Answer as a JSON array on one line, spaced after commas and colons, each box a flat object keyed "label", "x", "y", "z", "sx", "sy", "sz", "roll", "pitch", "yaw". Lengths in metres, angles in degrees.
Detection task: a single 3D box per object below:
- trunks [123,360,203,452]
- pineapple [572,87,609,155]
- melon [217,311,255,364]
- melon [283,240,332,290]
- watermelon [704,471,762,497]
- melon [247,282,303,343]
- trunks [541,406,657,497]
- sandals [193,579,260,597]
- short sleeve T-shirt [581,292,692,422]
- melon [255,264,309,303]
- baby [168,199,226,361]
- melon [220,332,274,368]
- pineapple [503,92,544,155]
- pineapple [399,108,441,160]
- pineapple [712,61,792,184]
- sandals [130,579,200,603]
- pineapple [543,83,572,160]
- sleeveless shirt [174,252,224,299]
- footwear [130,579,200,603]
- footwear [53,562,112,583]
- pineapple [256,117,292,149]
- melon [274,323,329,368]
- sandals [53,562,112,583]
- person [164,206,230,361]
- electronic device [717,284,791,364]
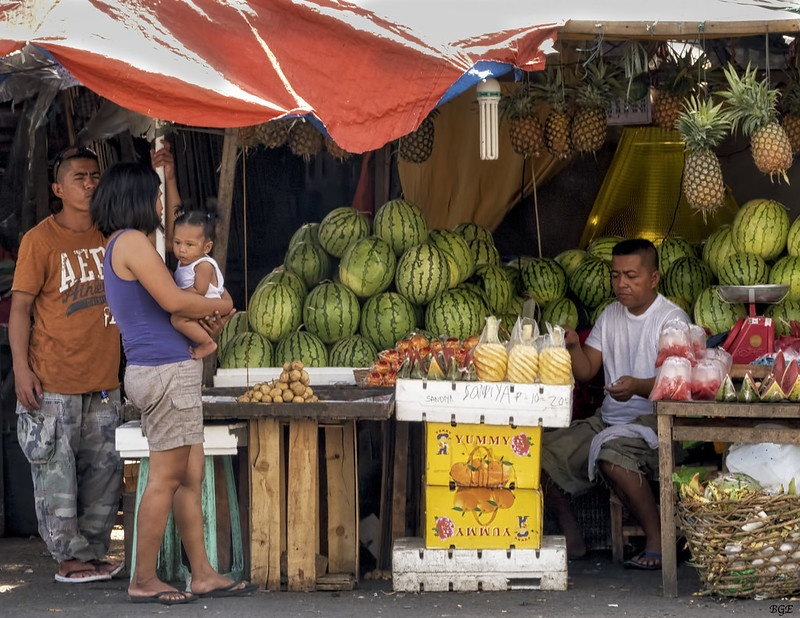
[{"label": "trunks", "x": -1.182, "y": 0.382, "z": 5.902, "sx": 0.338, "sy": 0.481, "sz": 0.490, "roll": -3, "pitch": 4, "yaw": -21}, {"label": "pineapple", "x": 1.212, "y": -1.225, "z": 7.545, "sx": 0.228, "sy": 0.340, "sz": 0.273, "roll": -3, "pitch": -1, "yaw": 9}, {"label": "melon", "x": -1.029, "y": 0.163, "z": 7.337, "sx": 0.197, "sy": 0.323, "sz": 0.214, "roll": -6, "pitch": 8, "yaw": -24}, {"label": "melon", "x": -0.578, "y": -0.296, "z": 7.450, "sx": 0.260, "sy": 0.368, "sz": 0.273, "roll": -1, "pitch": -6, "yaw": -4}, {"label": "watermelon", "x": 1.687, "y": 0.892, "z": 5.935, "sx": 0.269, "sy": 0.112, "sz": 0.244, "roll": -4, "pitch": -2, "yaw": 26}, {"label": "melon", "x": -0.742, "y": 0.029, "z": 7.285, "sx": 0.296, "sy": 0.427, "sz": 0.331, "roll": 0, "pitch": -7, "yaw": 3}, {"label": "trunks", "x": 1.110, "y": 0.807, "z": 6.630, "sx": 0.468, "sy": 0.247, "sz": 0.515, "roll": -7, "pitch": 12, "yaw": 20}, {"label": "sandals", "x": -0.876, "y": 1.425, "z": 5.963, "sx": 0.252, "sy": 0.074, "sz": 0.109, "roll": -3, "pitch": -1, "yaw": -18}, {"label": "short sleeve T-shirt", "x": 1.334, "y": 0.291, "z": 6.612, "sx": 0.348, "sy": 0.828, "sz": 0.630, "roll": -1, "pitch": 3, "yaw": -37}, {"label": "melon", "x": -0.723, "y": -0.178, "z": 7.377, "sx": 0.213, "sy": 0.312, "sz": 0.226, "roll": 2, "pitch": -9, "yaw": -3}, {"label": "baby", "x": -1.033, "y": -0.166, "z": 6.000, "sx": 0.295, "sy": 0.710, "sz": 0.306, "roll": 4, "pitch": 22, "yaw": 1}, {"label": "melon", "x": -0.913, "y": 0.268, "z": 7.206, "sx": 0.281, "sy": 0.255, "sz": 0.239, "roll": 24, "pitch": -15, "yaw": -35}, {"label": "pineapple", "x": 0.803, "y": -1.219, "z": 7.643, "sx": 0.270, "sy": 0.345, "sz": 0.247, "roll": -3, "pitch": -1, "yaw": 5}, {"label": "pineapple", "x": 0.123, "y": -1.124, "z": 7.638, "sx": 0.260, "sy": 0.228, "sz": 0.376, "roll": -3, "pitch": -1, "yaw": -6}, {"label": "pineapple", "x": 1.969, "y": -1.054, "z": 6.519, "sx": 0.350, "sy": 0.597, "sz": 0.523, "roll": -3, "pitch": -1, "yaw": 33}, {"label": "sandals", "x": -1.182, "y": 1.421, "z": 5.878, "sx": 0.303, "sy": 0.103, "sz": 0.132, "roll": -1, "pitch": 3, "yaw": 4}, {"label": "pineapple", "x": 1.023, "y": -1.214, "z": 7.581, "sx": 0.160, "sy": 0.360, "sz": 0.201, "roll": -2, "pitch": -1, "yaw": -9}, {"label": "sleeveless shirt", "x": -1.021, "y": -0.162, "z": 5.978, "sx": 0.200, "sy": 0.250, "sz": 0.210, "roll": 5, "pitch": -3, "yaw": -28}, {"label": "footwear", "x": -1.181, "y": 1.389, "z": 5.874, "sx": 0.303, "sy": 0.103, "sz": 0.132, "roll": -1, "pitch": 3, "yaw": 4}, {"label": "footwear", "x": -1.722, "y": 1.421, "z": 6.408, "sx": 0.269, "sy": 0.155, "sz": 0.123, "roll": -1, "pitch": -5, "yaw": 5}, {"label": "pineapple", "x": -0.752, "y": -1.065, "z": 7.124, "sx": 0.160, "sy": 0.204, "sz": 0.166, "roll": 1, "pitch": -2, "yaw": 14}, {"label": "melon", "x": -0.592, "y": 0.245, "z": 7.151, "sx": 0.226, "sy": 0.327, "sz": 0.231, "roll": -5, "pitch": -10, "yaw": 23}, {"label": "sandals", "x": -1.729, "y": 1.407, "z": 6.403, "sx": 0.269, "sy": 0.155, "sz": 0.123, "roll": -1, "pitch": -5, "yaw": 5}, {"label": "person", "x": -1.005, "y": -0.139, "z": 5.980, "sx": 0.269, "sy": 0.690, "sz": 0.291, "roll": 2, "pitch": 13, "yaw": 8}, {"label": "electronic device", "x": 1.973, "y": 0.082, "z": 6.584, "sx": 0.356, "sy": 0.542, "sz": 0.423, "roll": 0, "pitch": -3, "yaw": 12}]
